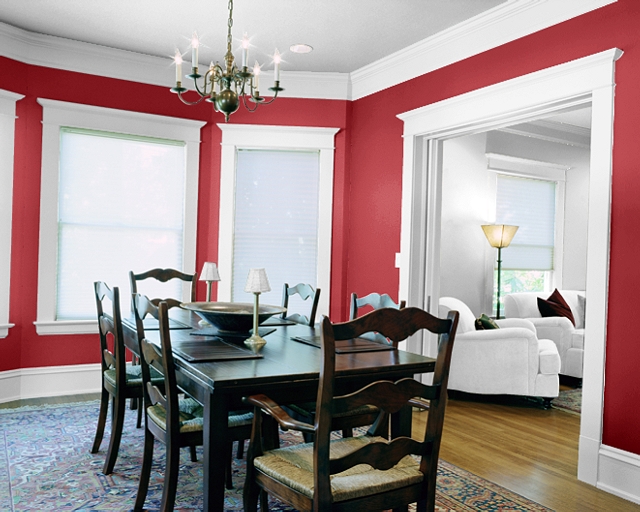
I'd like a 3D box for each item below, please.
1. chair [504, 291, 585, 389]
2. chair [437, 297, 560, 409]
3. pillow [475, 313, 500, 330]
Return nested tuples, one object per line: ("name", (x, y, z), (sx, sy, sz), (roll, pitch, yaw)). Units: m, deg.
("chair", (2.814, 0.813, 6.049), (1.114, 1.124, 1.013), (2, -4, -44))
("chair", (1.802, 0.870, 5.159), (1.138, 0.891, 1.131), (-1, -1, 10))
("pillow", (1.623, 0.639, 4.973), (0.181, 0.063, 0.183), (-4, 13, -26))
